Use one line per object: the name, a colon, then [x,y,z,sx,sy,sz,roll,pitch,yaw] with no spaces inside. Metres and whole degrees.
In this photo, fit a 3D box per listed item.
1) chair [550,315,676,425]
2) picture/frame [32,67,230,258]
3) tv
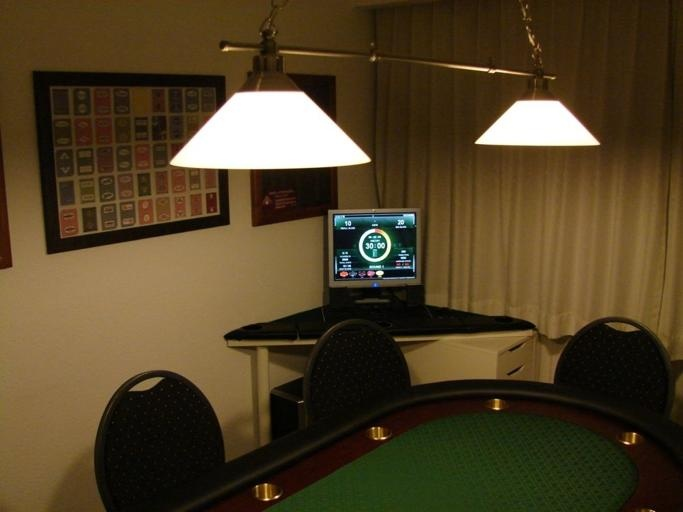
chair: [1.317,0.492,2.707,0.432,0.785,0.517,0,-4,41]
picture/frame: [-1.080,-0.479,2.688,0.041,0.807,0.913,13,20,40]
tv: [0.216,-0.068,3.725,0.494,0.451,0.051,-1,3,-9]
